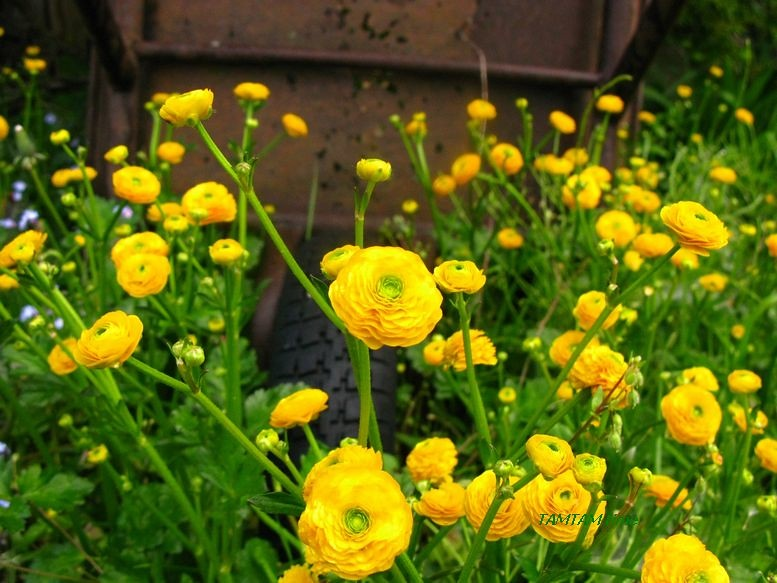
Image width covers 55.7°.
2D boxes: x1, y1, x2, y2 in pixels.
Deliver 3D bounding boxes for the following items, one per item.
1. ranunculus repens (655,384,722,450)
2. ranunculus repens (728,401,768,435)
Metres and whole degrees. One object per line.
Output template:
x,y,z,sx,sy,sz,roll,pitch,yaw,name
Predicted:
0.496,0.202,1.219,0.102,0.063,0.109,12,55,-10,ranunculus repens
0.649,0.224,1.316,0.062,0.029,0.052,11,33,-31,ranunculus repens
